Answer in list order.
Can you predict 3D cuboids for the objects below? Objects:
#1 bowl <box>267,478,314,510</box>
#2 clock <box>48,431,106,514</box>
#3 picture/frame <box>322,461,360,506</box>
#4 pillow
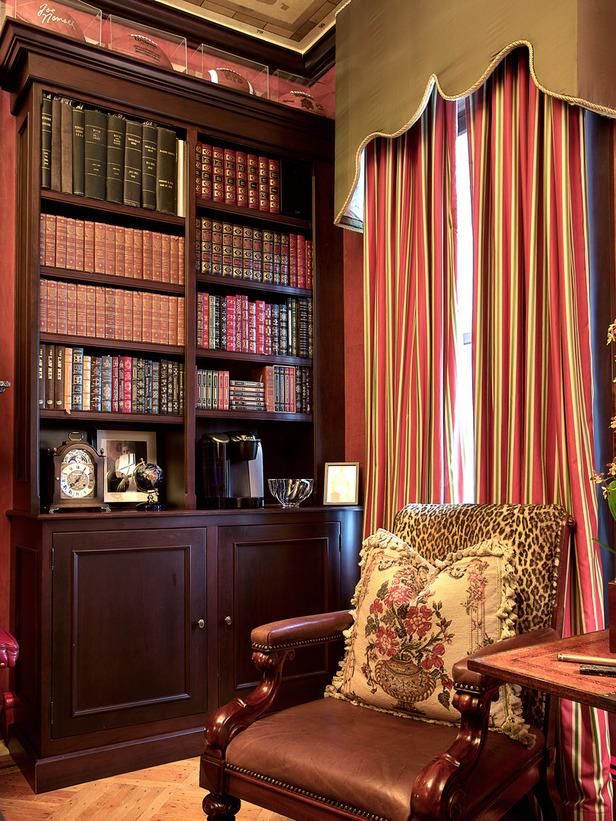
[{"bbox_3d":[-0.064,0.348,3.166,0.129,0.094,0.137,1,-11,0],"label":"bowl"},{"bbox_3d":[-0.816,0.229,2.761,0.180,0.301,0.119,4,-27,-23],"label":"clock"},{"bbox_3d":[0.143,0.300,3.217,0.156,0.220,0.015,-2,-17,11],"label":"picture/frame"},{"bbox_3d":[0.298,0.519,1.767,0.133,0.311,0.341,31,-26,-36],"label":"pillow"}]
